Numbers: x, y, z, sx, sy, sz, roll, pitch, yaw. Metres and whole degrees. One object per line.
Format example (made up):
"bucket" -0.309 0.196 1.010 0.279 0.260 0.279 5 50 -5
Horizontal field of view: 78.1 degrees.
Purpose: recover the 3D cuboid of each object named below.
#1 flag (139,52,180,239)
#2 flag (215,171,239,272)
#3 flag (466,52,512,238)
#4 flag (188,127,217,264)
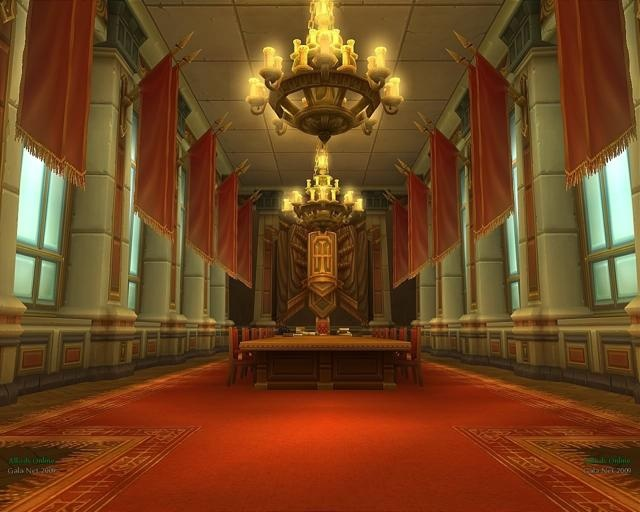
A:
"flag" -2.394 -1.591 5.785 0.616 2.656 0.567 7 -12 -32
"flag" -2.161 -0.761 9.116 0.490 2.524 0.891 3 -10 -15
"flag" 2.536 -1.739 5.849 0.563 2.828 0.717 -3 -11 21
"flag" -2.209 -1.132 7.271 0.549 2.502 0.514 2 -10 -8
